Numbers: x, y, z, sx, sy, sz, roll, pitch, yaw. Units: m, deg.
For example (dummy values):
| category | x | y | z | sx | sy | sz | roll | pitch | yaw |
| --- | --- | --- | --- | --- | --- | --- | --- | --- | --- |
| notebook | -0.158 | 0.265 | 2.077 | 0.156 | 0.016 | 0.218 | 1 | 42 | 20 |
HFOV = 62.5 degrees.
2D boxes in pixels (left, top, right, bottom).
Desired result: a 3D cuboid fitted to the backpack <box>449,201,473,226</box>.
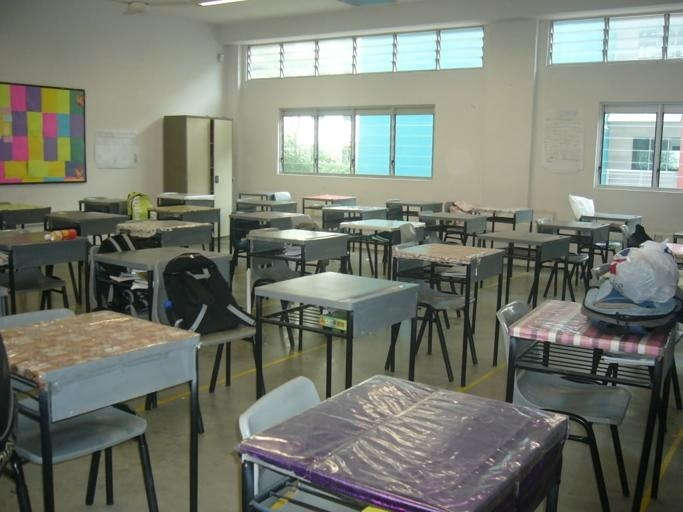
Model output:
| category | x | y | z | sx | sy | sz | roll | pitch | yaw |
| --- | --- | --- | --- | --- | --- | --- | --- | --- | --- |
| backpack | 1.809 | -0.685 | 8.584 | 0.465 | 0.173 | 0.454 | 5 | 13 | 12 |

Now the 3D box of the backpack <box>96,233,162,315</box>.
| category | x | y | z | sx | sy | sz | roll | pitch | yaw |
| --- | --- | --- | --- | --- | --- | --- | --- | --- | --- |
| backpack | -1.475 | 0.145 | 3.878 | 0.402 | 0.496 | 0.557 | 6 | 10 | 29 |

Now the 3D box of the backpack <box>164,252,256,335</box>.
| category | x | y | z | sx | sy | sz | roll | pitch | yaw |
| --- | --- | --- | --- | --- | --- | --- | --- | --- | --- |
| backpack | -0.833 | 0.236 | 3.543 | 0.545 | 0.478 | 0.514 | -2 | 9 | -22 |
